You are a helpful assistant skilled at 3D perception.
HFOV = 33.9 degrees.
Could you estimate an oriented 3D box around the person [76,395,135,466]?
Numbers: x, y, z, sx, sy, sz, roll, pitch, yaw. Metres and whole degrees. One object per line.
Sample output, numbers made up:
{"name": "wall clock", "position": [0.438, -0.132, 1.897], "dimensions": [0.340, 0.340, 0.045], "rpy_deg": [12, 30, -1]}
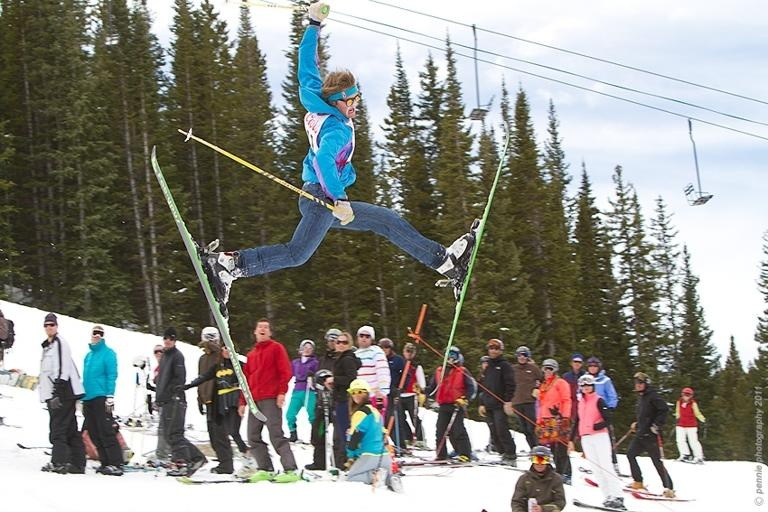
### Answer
{"name": "person", "position": [-11.388, 7.013, 49.971], "dimensions": [1.343, 2.611, 1.643], "rpy_deg": [-11, 3, -39]}
